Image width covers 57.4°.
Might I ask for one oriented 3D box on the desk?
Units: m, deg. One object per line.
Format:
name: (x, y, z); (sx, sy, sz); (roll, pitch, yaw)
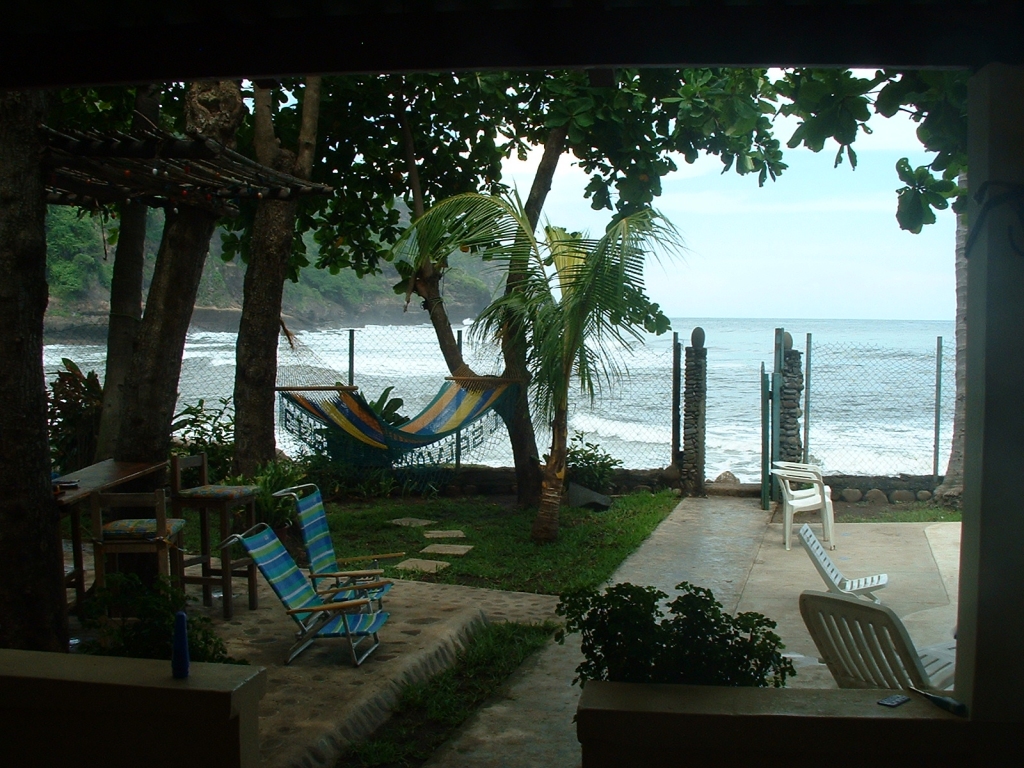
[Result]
desk: (-2.889, 1.059, 6.849); (0.410, 0.579, 1.266); (0, 7, -4)
